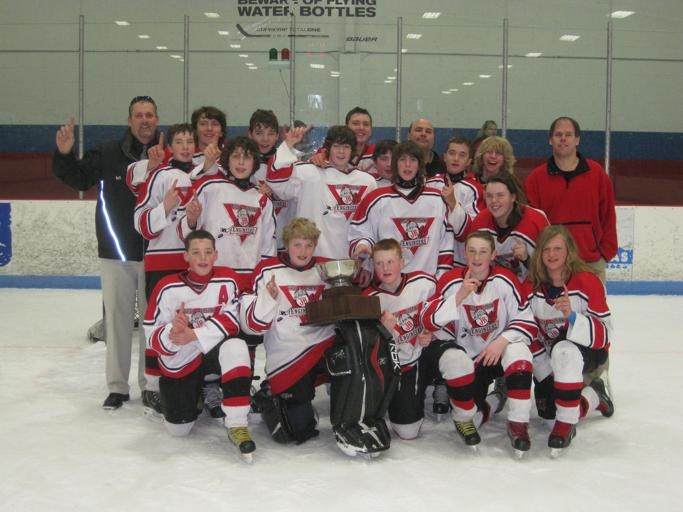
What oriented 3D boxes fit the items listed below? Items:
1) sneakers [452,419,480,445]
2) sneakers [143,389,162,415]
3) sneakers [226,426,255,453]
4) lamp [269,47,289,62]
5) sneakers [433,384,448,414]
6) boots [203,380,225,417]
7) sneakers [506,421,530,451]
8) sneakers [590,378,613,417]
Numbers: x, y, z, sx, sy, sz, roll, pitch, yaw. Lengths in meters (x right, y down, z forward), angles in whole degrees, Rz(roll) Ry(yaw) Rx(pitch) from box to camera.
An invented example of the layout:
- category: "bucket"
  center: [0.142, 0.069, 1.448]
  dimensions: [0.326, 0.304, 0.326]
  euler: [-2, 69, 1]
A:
- category: "sneakers"
  center: [1.060, 1.425, 7.302]
  dimensions: [0.226, 0.199, 0.223]
  euler: [-3, 7, -27]
- category: "sneakers"
  center: [-1.614, 1.239, 7.627]
  dimensions: [0.087, 0.209, 0.283]
  euler: [-6, 9, -42]
- category: "sneakers"
  center: [-0.792, 1.436, 7.131]
  dimensions: [0.103, 0.157, 0.321]
  euler: [-16, 12, -24]
- category: "lamp"
  center: [-0.814, -2.645, 11.782]
  dimensions: [0.195, 0.119, 0.070]
  euler: [0, -6, -1]
- category: "sneakers"
  center: [0.855, 1.251, 7.822]
  dimensions: [0.087, 0.112, 0.271]
  euler: [0, 23, 9]
- category: "boots"
  center: [-1.116, 1.243, 7.773]
  dimensions: [0.133, 0.423, 0.180]
  euler: [-7, -28, -24]
- category: "sneakers"
  center: [1.420, 1.437, 7.180]
  dimensions: [0.188, 0.247, 0.198]
  euler: [2, 7, 12]
- category: "sneakers"
  center: [2.251, 1.209, 7.765]
  dimensions: [0.130, 0.369, 0.155]
  euler: [-28, -11, 33]
